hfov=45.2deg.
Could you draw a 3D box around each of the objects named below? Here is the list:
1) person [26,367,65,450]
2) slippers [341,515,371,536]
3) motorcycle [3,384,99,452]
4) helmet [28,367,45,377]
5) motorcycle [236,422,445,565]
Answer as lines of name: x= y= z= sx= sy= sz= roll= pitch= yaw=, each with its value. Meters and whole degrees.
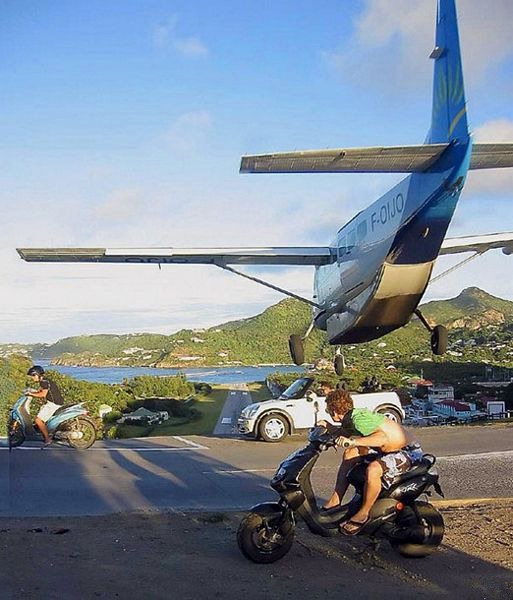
person: x=-4.133 y=2.136 z=12.090 sx=0.646 sy=1.625 sz=0.701 roll=-1 pitch=-2 yaw=-16
slippers: x=0.865 y=1.968 z=5.346 sx=0.135 sy=0.063 sz=0.281 roll=-5 pitch=-2 yaw=41
motorcycle: x=-4.049 y=2.404 z=11.779 sx=2.315 sy=1.040 sz=0.871 roll=2 pitch=-9 yaw=0
helmet: x=-4.301 y=1.397 z=11.936 sx=0.201 sy=0.149 sz=0.250 roll=7 pitch=12 yaw=31
motorcycle: x=0.637 y=1.848 z=5.854 sx=2.206 sy=0.996 sz=0.945 roll=1 pitch=-8 yaw=-3
